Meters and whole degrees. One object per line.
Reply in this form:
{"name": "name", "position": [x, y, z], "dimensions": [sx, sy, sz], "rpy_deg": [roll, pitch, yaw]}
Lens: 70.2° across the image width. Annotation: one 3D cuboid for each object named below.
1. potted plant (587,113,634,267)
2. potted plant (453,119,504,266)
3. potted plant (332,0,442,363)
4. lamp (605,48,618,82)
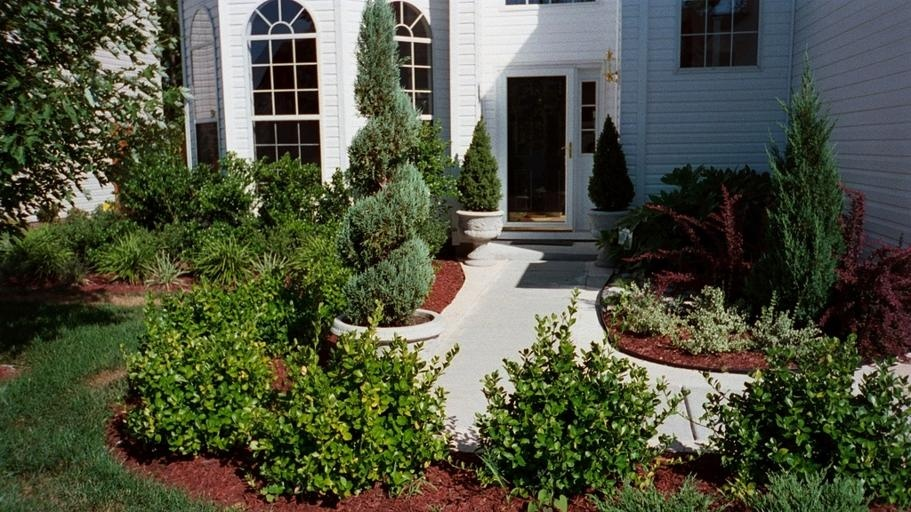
{"name": "potted plant", "position": [2.690, -1.143, 11.101], "dimensions": [0.747, 2.434, 1.422], "rpy_deg": [2, 11, 7]}
{"name": "potted plant", "position": [0.420, -1.148, 11.517], "dimensions": [0.784, 2.475, 0.893], "rpy_deg": [0, 11, 0]}
{"name": "potted plant", "position": [-0.812, -0.975, 7.424], "dimensions": [1.150, 3.847, 1.081], "rpy_deg": [0, 11, -2]}
{"name": "lamp", "position": [2.953, -3.602, 12.317], "dimensions": [0.182, 0.606, 0.277], "rpy_deg": [0, 11, -1]}
